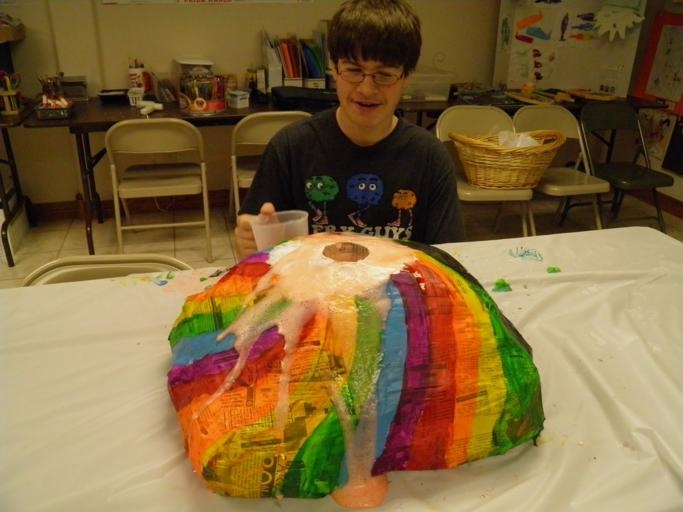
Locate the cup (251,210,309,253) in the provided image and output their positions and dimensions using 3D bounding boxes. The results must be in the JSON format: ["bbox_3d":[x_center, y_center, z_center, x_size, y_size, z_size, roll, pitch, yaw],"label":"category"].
[{"bbox_3d":[-0.167,-0.059,1.392,0.171,0.140,0.151,2,7,9],"label":"cup"}]

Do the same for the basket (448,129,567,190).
[{"bbox_3d":[0.902,-0.517,2.844,0.625,0.341,0.353,1,27,3],"label":"basket"}]

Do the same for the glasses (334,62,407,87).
[{"bbox_3d":[0.080,-0.537,1.502,0.178,0.075,0.048,2,26,5],"label":"glasses"}]
